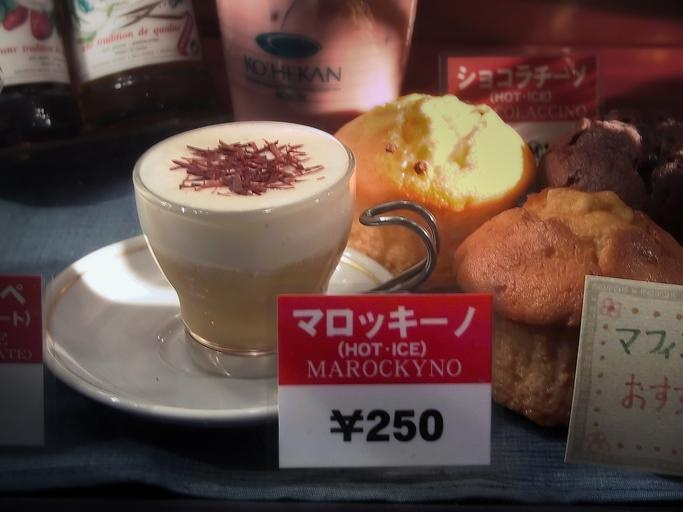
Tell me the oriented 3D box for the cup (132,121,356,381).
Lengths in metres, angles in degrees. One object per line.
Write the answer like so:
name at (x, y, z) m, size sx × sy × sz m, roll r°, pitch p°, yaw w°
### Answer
cup at (-0.118, -0.012, 0.800) m, size 0.265 × 0.247 × 0.248 m, roll -6°, pitch 20°, yaw 2°
